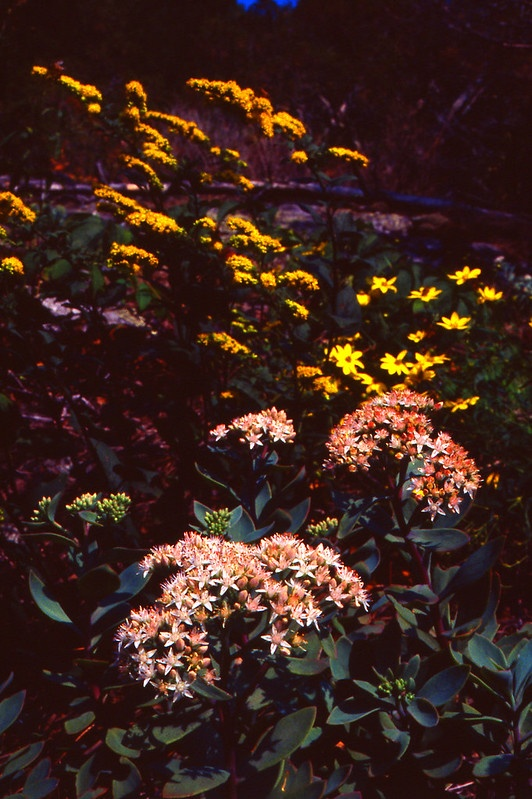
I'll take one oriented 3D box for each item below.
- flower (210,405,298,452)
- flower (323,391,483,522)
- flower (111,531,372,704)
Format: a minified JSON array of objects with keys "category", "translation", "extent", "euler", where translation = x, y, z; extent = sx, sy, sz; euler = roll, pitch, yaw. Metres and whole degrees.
[{"category":"flower","translation":[-0.054,0.105,2.859],"extent":[0.221,0.097,0.172],"euler":[-14,-8,42]},{"category":"flower","translation":[0.435,0.177,2.972],"extent":[0.461,0.471,0.518],"euler":[58,4,11]},{"category":"flower","translation":[-0.113,0.578,2.460],"extent":[0.675,0.345,0.442],"euler":[-19,75,-6]}]
